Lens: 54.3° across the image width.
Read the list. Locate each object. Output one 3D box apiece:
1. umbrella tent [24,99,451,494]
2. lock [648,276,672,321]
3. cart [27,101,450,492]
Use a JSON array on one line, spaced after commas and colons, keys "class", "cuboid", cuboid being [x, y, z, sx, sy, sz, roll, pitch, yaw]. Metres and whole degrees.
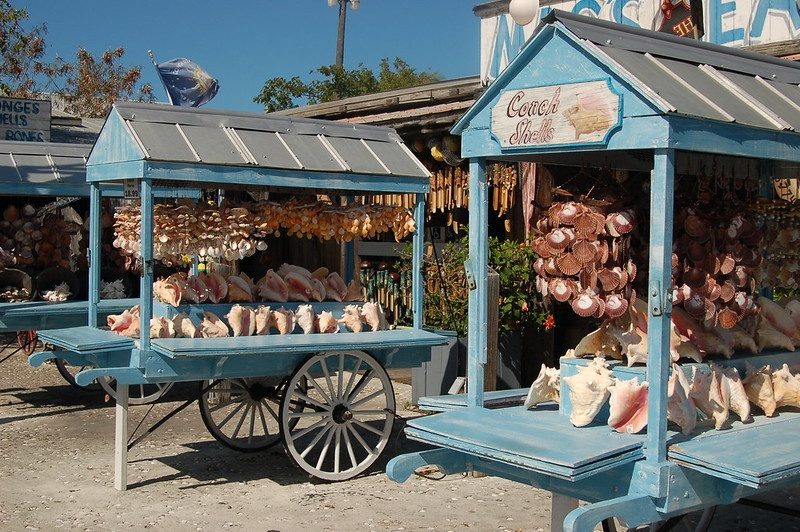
[{"class": "umbrella tent", "cuboid": [-1.740, 0.391, 8.277, 4.242, 3.861, 2.202, -2, 6, -29]}, {"class": "lock", "cuboid": [1.537, 0.190, 4.606, 0.177, 0.268, 0.204, 1, 1, 31]}, {"class": "cart", "cuboid": [-1.287, 0.282, 8.097, 4.352, 3.711, 1.990, 0, 1, -38]}]
